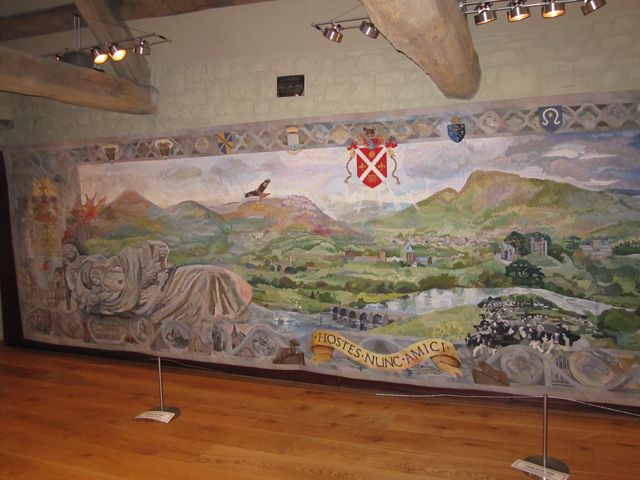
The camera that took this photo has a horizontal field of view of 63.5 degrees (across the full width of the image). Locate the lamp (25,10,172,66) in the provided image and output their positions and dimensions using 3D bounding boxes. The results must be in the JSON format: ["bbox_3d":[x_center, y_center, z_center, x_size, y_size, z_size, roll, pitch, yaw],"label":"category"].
[{"bbox_3d":[-2.992,-2.620,7.171,1.247,0.429,1.226,5,9,36],"label":"lamp"}]
